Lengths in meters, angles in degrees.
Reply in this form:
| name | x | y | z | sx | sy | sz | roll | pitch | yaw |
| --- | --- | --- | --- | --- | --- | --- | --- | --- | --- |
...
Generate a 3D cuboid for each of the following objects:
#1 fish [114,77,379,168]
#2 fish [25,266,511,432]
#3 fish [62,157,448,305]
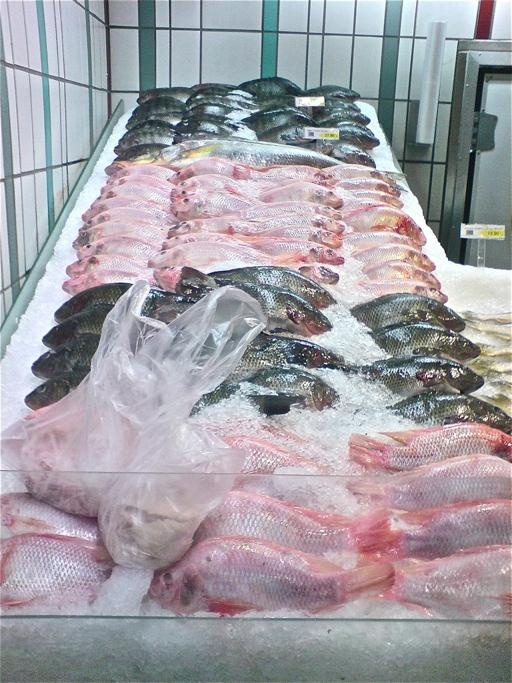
| name | x | y | z | sx | sy | sz | roll | pitch | yaw |
| --- | --- | --- | --- | --- | --- | --- | --- | --- | --- |
| fish | -0.029 | -0.814 | 2.188 | 0.969 | 0.355 | 0.637 | 1 | 14 | 2 |
| fish | 0.007 | -0.003 | 1.130 | 0.927 | 0.237 | 0.411 | 1 | 14 | 3 |
| fish | -0.017 | -0.305 | 1.646 | 0.704 | 0.141 | 0.624 | 1 | 26 | -2 |
